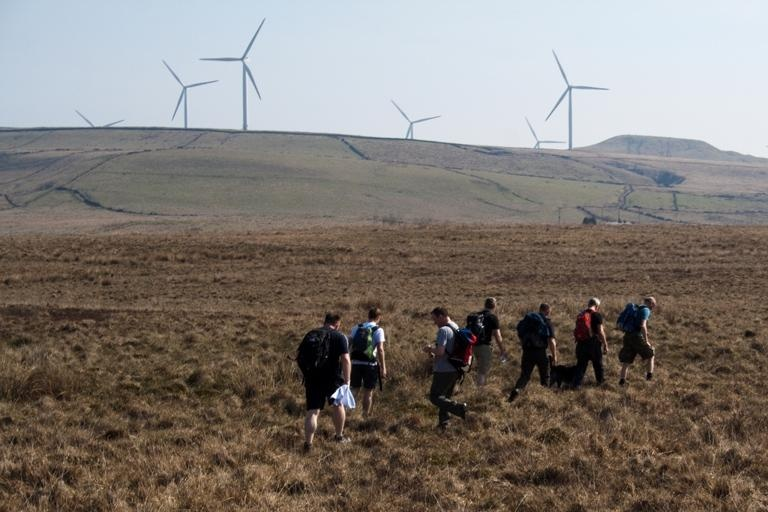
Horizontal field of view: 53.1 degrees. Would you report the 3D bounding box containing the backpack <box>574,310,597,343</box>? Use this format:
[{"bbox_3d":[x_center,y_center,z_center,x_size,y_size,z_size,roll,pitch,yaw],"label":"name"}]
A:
[{"bbox_3d":[5.963,2.083,22.918,0.501,0.964,0.427,4,11,14],"label":"backpack"}]

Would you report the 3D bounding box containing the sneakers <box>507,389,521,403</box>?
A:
[{"bbox_3d":[3.769,4.077,22.342,0.158,0.302,0.072,21,12,-37],"label":"sneakers"}]
